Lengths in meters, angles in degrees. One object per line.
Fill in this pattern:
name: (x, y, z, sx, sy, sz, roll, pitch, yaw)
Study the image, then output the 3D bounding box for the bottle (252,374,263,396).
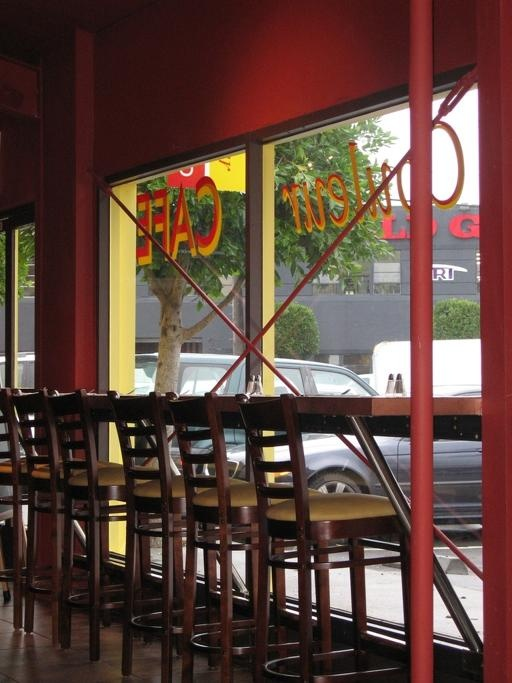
bottle: (0.012, 0.176, 3.330, 0.060, 0.101, 0.041, 2, -8, 4)
